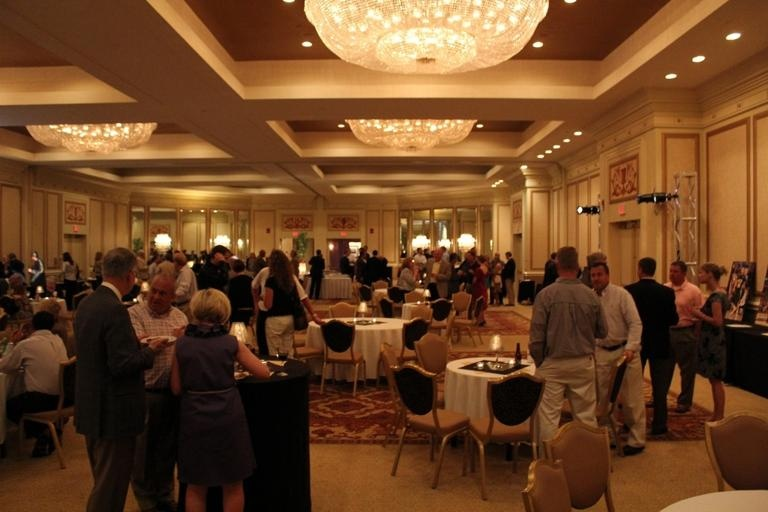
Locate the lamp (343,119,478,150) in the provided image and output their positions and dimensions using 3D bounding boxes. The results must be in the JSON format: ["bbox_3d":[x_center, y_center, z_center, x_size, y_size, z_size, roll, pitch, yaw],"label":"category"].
[{"bbox_3d":[0.525,-2.477,11.593,2.369,0.482,0.677,0,0,1],"label":"lamp"}]

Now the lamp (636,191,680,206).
[{"bbox_3d":[4.664,-0.994,9.925,0.298,0.142,0.387,-2,1,-35],"label":"lamp"}]

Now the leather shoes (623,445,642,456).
[{"bbox_3d":[2.949,2.302,6.807,0.213,0.092,0.104,3,-3,-2],"label":"leather shoes"}]

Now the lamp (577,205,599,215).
[{"bbox_3d":[4.380,-0.999,12.407,0.409,0.193,0.647,0,0,6],"label":"lamp"}]
